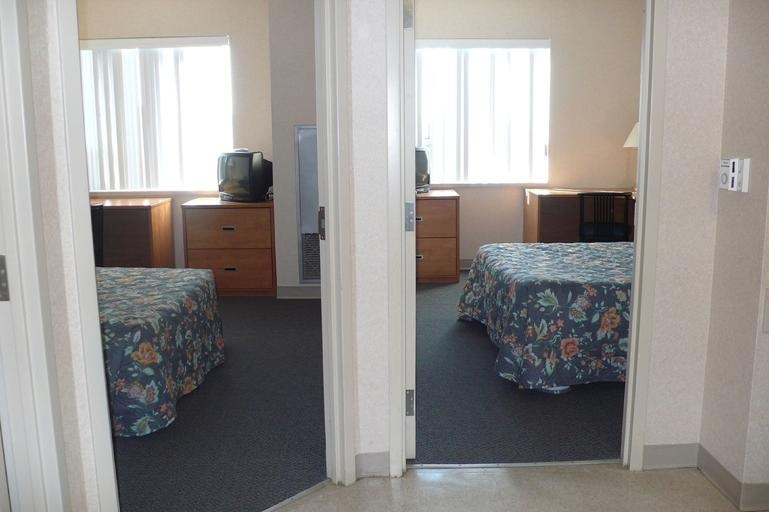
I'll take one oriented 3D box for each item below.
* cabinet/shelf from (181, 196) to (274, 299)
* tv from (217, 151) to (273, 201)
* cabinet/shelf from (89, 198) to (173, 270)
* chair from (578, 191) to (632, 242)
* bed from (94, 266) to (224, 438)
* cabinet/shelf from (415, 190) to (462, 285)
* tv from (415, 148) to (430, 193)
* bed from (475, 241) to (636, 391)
[{"bbox_3d":[-1.400,-0.074,5.918,0.852,0.824,0.484,-1,6,-1],"label":"cabinet/shelf"},{"bbox_3d":[-1.289,-0.722,5.989,0.497,0.502,0.487,1,4,14],"label":"tv"},{"bbox_3d":[-2.414,-0.235,6.115,0.595,0.562,0.493,3,11,11],"label":"cabinet/shelf"},{"bbox_3d":[2.207,-0.414,6.225,0.582,0.491,0.502,-1,10,10],"label":"chair"},{"bbox_3d":[-1.356,0.547,3.812,0.693,0.712,1.076,-5,10,-13],"label":"bed"},{"bbox_3d":[0.682,-0.165,6.370,0.545,0.829,0.617,0,0,34],"label":"cabinet/shelf"},{"bbox_3d":[0.402,-0.886,6.415,0.093,0.430,0.291,1,10,20],"label":"tv"},{"bbox_3d":[1.103,0.356,3.994,0.974,0.400,1.015,-3,14,-3],"label":"bed"}]
